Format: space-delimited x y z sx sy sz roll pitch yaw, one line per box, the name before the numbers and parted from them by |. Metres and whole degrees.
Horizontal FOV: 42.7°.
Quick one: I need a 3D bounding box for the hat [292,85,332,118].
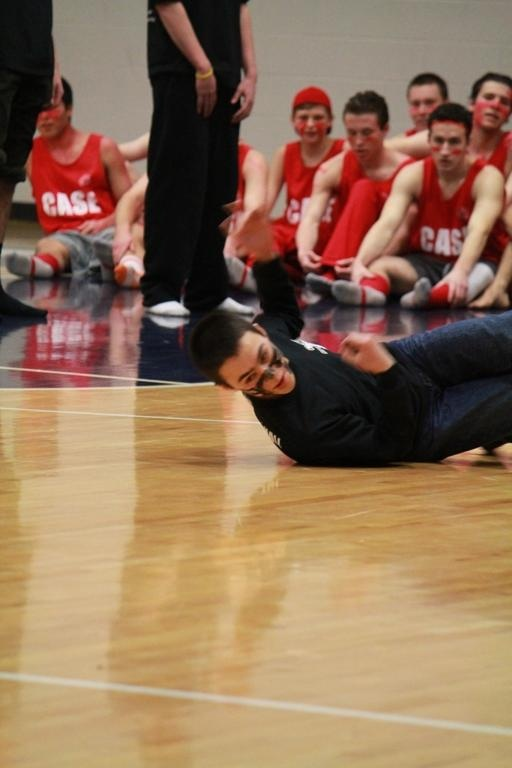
hat | 0.310 -1.565 3.682 0.253 0.171 0.250 0 6 -9
